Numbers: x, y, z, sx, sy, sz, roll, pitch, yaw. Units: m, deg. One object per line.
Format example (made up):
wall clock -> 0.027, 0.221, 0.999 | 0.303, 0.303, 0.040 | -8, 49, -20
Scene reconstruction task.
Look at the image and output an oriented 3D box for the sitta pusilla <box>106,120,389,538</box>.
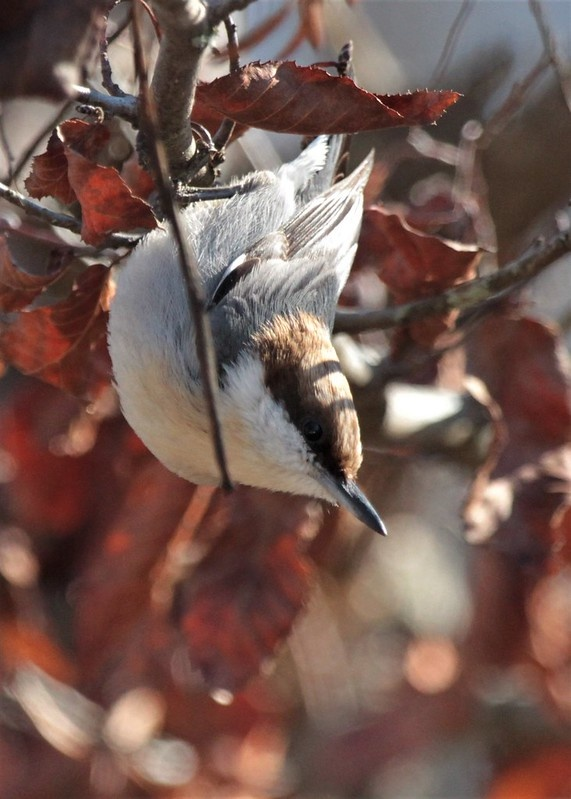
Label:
sitta pusilla -> -0.039, -0.158, 1.399 | 0.299, 0.448, 0.710 | 8, 67, -21
